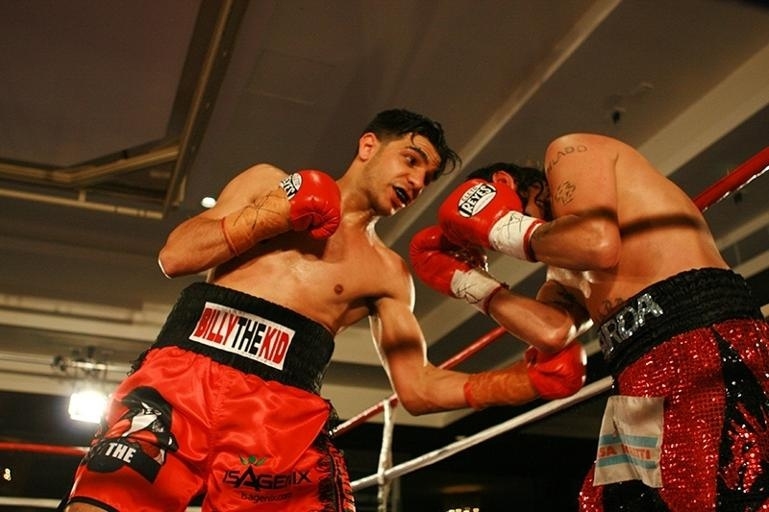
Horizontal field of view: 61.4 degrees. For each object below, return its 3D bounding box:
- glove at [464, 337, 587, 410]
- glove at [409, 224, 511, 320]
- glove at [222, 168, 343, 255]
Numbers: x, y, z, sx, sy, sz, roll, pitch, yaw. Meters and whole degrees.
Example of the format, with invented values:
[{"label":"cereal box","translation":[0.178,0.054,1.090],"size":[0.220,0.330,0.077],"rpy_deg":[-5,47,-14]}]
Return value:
[{"label":"glove","translation":[0.635,0.532,2.913],"size":[0.436,0.192,0.321],"rpy_deg":[-19,-7,24]},{"label":"glove","translation":[0.369,0.028,3.153],"size":[0.458,0.198,0.353],"rpy_deg":[43,-50,0]},{"label":"glove","translation":[-0.432,-0.148,2.927],"size":[0.479,0.312,0.189],"rpy_deg":[-27,-28,-4]}]
